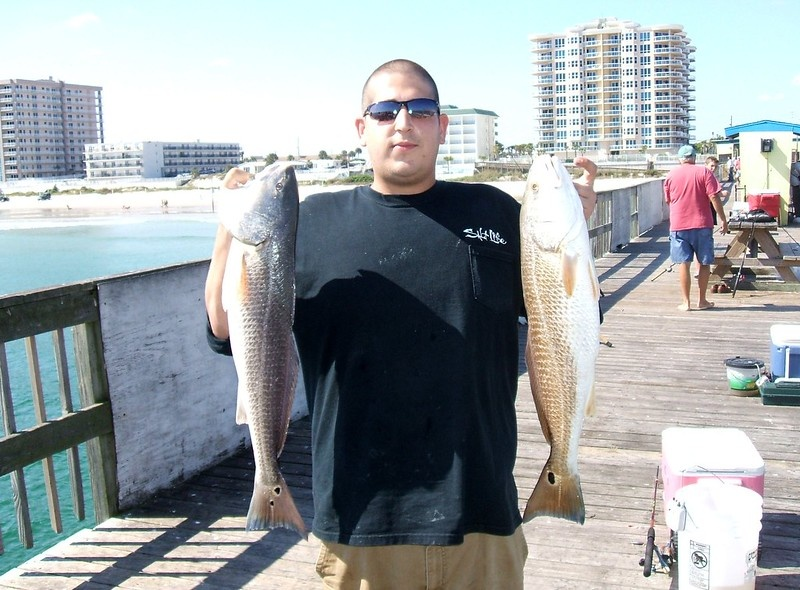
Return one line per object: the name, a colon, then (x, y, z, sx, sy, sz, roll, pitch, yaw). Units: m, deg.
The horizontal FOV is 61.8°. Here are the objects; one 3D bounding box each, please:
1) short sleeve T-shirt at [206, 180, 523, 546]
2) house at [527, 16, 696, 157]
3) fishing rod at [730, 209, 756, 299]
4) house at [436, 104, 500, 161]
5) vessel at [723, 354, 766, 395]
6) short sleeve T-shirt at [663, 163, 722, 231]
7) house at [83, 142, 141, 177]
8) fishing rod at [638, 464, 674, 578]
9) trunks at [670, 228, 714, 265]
short sleeve T-shirt: (0.028, 0.220, 2.443, 0.832, 1.228, 0.556, 0, 11, 9)
house: (39.130, -38.928, 132.179, 24.842, 28.418, 15.798, 0, -7, 6)
fishing rod: (5.480, -0.631, 10.663, 0.119, 1.607, 0.114, 23, -9, -13)
house: (18.470, -42.230, 172.169, 6.685, 12.293, 11.695, -17, 18, -32)
vessel: (3.140, 0.701, 6.081, 0.295, 0.303, 0.297, 4, 8, 40)
short sleeve T-shirt: (3.932, -1.311, 9.003, 0.662, 0.871, 0.431, 0, 11, 8)
house: (-68.464, -32.290, 159.705, 15.566, 7.896, 2.815, 3, 11, 21)
fishing rod: (1.500, 1.328, 3.928, 0.147, 0.118, 0.865, -43, 11, 37)
trunks: (3.974, -0.785, 9.052, 0.581, 0.651, 0.374, 3, 24, 35)
